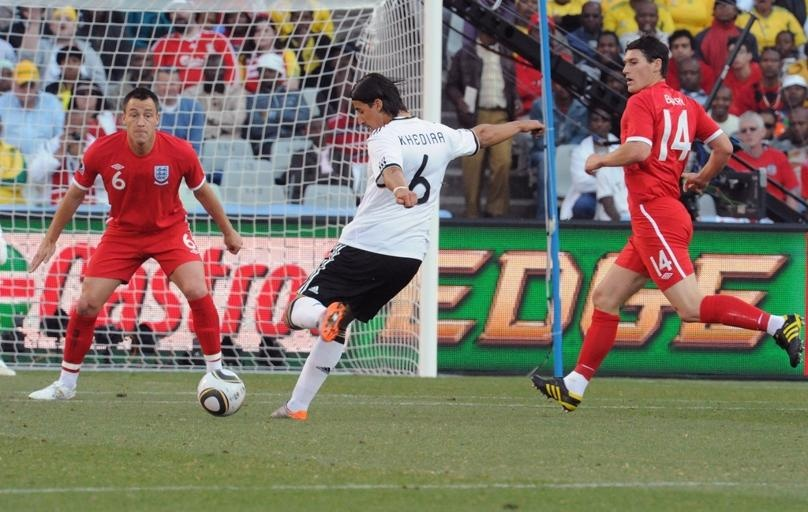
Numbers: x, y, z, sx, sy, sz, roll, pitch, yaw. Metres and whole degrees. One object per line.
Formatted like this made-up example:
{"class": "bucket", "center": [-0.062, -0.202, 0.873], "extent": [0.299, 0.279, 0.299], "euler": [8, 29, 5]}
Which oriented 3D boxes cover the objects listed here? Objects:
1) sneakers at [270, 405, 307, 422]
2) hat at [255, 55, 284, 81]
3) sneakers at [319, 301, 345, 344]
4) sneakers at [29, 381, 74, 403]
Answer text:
{"class": "sneakers", "center": [-0.964, 1.303, 9.353], "extent": [0.309, 0.105, 0.109], "euler": [5, -1, 19]}
{"class": "hat", "center": [-1.449, -2.157, 12.741], "extent": [0.329, 0.251, 0.254], "euler": [6, 7, 28]}
{"class": "sneakers", "center": [-0.553, 0.503, 8.932], "extent": [0.168, 0.343, 0.155], "euler": [30, -17, -6]}
{"class": "sneakers", "center": [-3.057, 1.194, 9.875], "extent": [0.449, 0.174, 0.156], "euler": [2, 0, -9]}
